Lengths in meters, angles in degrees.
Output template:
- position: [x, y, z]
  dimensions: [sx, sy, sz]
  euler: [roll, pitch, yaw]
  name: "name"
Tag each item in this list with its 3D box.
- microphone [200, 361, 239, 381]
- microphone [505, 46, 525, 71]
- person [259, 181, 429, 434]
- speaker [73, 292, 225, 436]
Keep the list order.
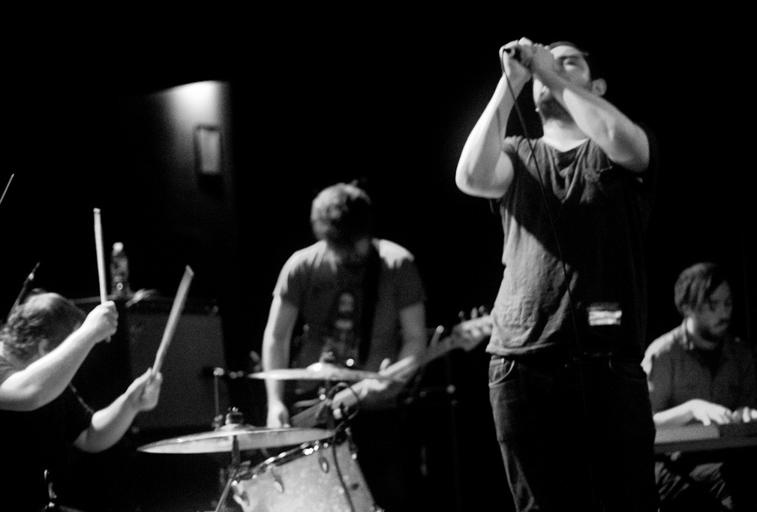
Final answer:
- position: [-0.730, 0.538, 3.519]
  dimensions: [0.117, 0.036, 0.085]
  euler: [10, -5, 0]
  name: "microphone"
- position: [0.528, -0.787, 2.989]
  dimensions: [0.066, 0.051, 0.018]
  euler: [24, -14, -16]
  name: "microphone"
- position: [-0.167, 0.227, 3.526]
  dimensions: [0.727, 1.090, 0.725]
  euler: [-1, 7, -5]
  name: "person"
- position: [-1.025, 0.508, 3.672]
  dimensions: [0.820, 0.783, 0.549]
  euler: [4, -17, -30]
  name: "speaker"
